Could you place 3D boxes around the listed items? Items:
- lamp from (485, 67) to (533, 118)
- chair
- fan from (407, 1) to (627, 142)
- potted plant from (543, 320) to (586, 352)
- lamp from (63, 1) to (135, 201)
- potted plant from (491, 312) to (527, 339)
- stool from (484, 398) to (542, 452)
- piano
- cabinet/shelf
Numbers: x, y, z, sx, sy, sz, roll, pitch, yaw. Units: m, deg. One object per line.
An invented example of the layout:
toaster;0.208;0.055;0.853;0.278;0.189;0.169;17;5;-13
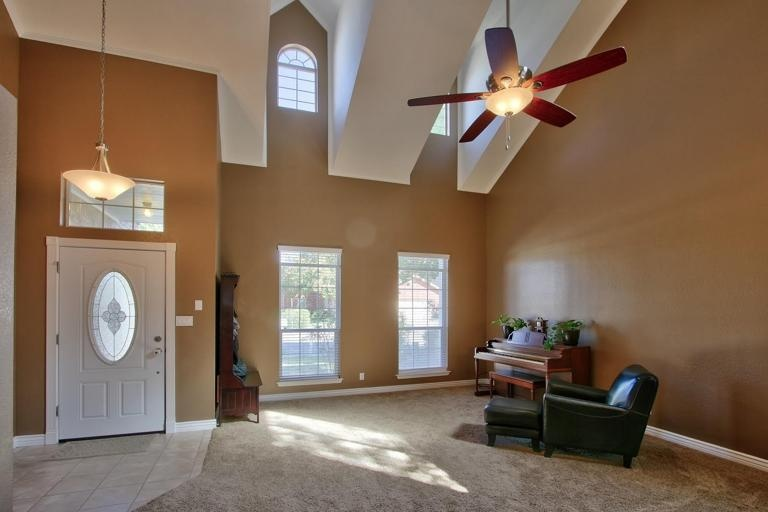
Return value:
lamp;1.432;-1.847;6.220;0.478;0.411;0.475;3;-15;-5
chair;2.846;2.103;7.260;1.416;1.184;1.313;2;-2;26
fan;1.608;-2.381;6.903;2.003;2.203;2.067;6;-30;-1
potted plant;2.820;1.286;8.525;0.489;0.405;0.469;9;-13;-28
lamp;-3.703;-2.034;6.794;0.834;2.712;1.885;-6;11;-31
potted plant;2.296;1.256;9.603;0.431;0.275;0.416;-9;-18;44
stool;1.704;2.204;7.103;0.651;0.505;0.662;-2;-8;21
piano;2.420;1.934;9.078;0.874;1.232;1.927;0;-3;-26
cabinet/shelf;-2.300;1.565;8.479;0.659;2.147;2.124;0;-4;-17
